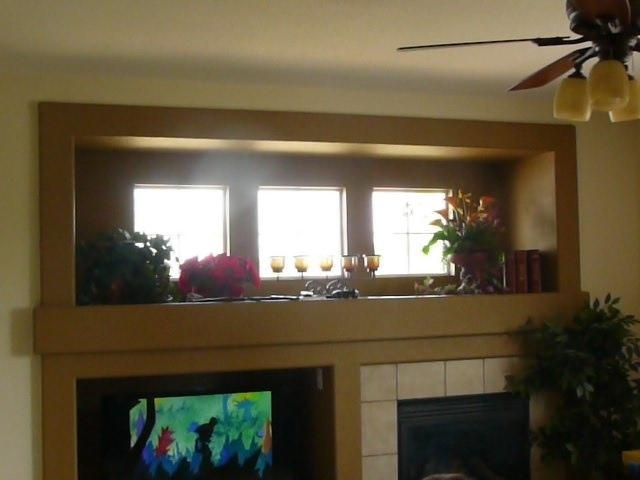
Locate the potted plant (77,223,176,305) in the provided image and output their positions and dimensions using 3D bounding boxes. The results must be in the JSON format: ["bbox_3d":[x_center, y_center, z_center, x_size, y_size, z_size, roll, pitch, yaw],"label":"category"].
[{"bbox_3d":[-1.022,0.152,3.448,0.352,0.333,0.425,1,-9,-15],"label":"potted plant"}]

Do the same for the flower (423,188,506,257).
[{"bbox_3d":[0.865,-0.071,3.982,0.410,0.435,0.430,-6,-10,35],"label":"flower"}]

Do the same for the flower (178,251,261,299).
[{"bbox_3d":[-0.555,0.197,3.630,0.435,0.239,0.126,-1,-3,-12],"label":"flower"}]

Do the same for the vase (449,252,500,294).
[{"bbox_3d":[0.924,0.176,3.924,0.216,0.286,0.256,-2,-2,3],"label":"vase"}]

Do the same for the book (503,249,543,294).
[{"bbox_3d":[1.190,0.186,3.895,0.208,0.245,0.116,-2,-4,14],"label":"book"}]

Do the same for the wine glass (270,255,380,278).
[{"bbox_3d":[0.033,0.157,3.938,0.659,0.129,0.230,-1,-4,-6],"label":"wine glass"}]
